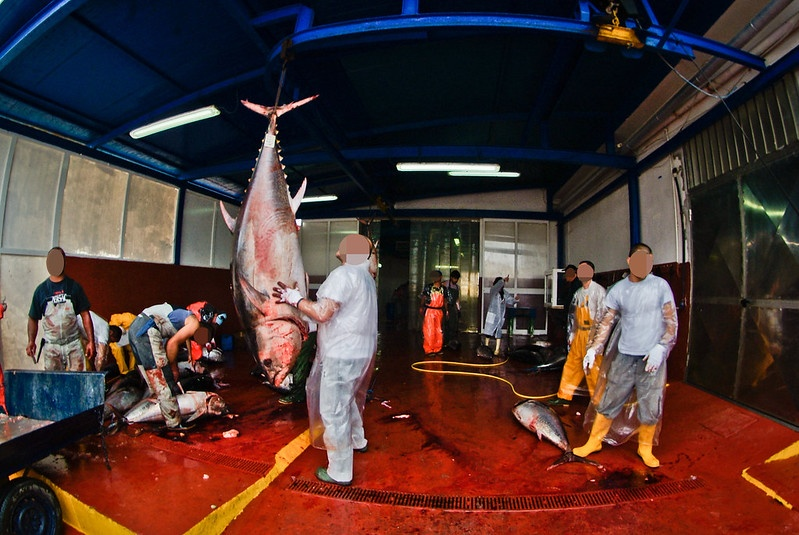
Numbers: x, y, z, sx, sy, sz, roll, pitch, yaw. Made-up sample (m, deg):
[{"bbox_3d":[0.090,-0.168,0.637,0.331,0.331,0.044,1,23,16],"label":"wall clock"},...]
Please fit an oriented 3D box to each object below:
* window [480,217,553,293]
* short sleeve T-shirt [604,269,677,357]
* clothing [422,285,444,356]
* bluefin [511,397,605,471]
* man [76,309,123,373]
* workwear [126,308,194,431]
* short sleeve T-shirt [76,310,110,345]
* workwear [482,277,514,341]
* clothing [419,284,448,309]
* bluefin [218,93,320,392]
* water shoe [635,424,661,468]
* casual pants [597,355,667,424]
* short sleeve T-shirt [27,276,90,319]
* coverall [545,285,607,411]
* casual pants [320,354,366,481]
[{"bbox_3d":[2.950,-0.238,11.648,1.721,2.182,0.083,2,-9,-1],"label":"window"},{"bbox_3d":[2.583,0.506,5.060,0.681,0.863,0.227,2,4,28],"label":"short sleeve T-shirt"},{"bbox_3d":[0.666,0.975,8.865,0.388,1.334,0.236,0,3,0],"label":"clothing"},{"bbox_3d":[1.697,1.877,5.316,0.547,0.336,1.192,-7,20,-18],"label":"bluefin"},{"bbox_3d":[-4.080,0.954,6.363,0.340,0.946,0.702,-5,-10,43],"label":"man"},{"bbox_3d":[-2.746,1.162,5.559,0.781,1.398,0.384,1,4,19],"label":"workwear"},{"bbox_3d":[-3.955,0.783,6.099,0.280,0.395,0.177,-26,8,-20],"label":"short sleeve T-shirt"},{"bbox_3d":[1.867,0.856,8.776,0.517,1.378,0.452,13,-19,-4],"label":"workwear"},{"bbox_3d":[0.701,0.567,8.960,0.382,0.511,0.189,5,-1,17],"label":"clothing"},{"bbox_3d":[-1.406,-0.076,5.194,1.261,3.120,0.918,1,2,-30],"label":"bluefin"},{"bbox_3d":[2.653,1.886,5.001,0.204,0.436,0.143,2,4,30],"label":"water shoe"},{"bbox_3d":[2.505,1.320,5.058,0.653,0.954,0.297,9,-8,33],"label":"casual pants"},{"bbox_3d":[-4.306,0.396,5.906,0.584,0.488,0.248,-4,2,-23],"label":"short sleeve T-shirt"},{"bbox_3d":[2.387,0.988,6.198,0.548,1.795,0.623,7,9,33],"label":"coverall"},{"bbox_3d":[-0.561,1.510,4.735,0.469,1.216,0.282,0,4,-11],"label":"casual pants"}]
